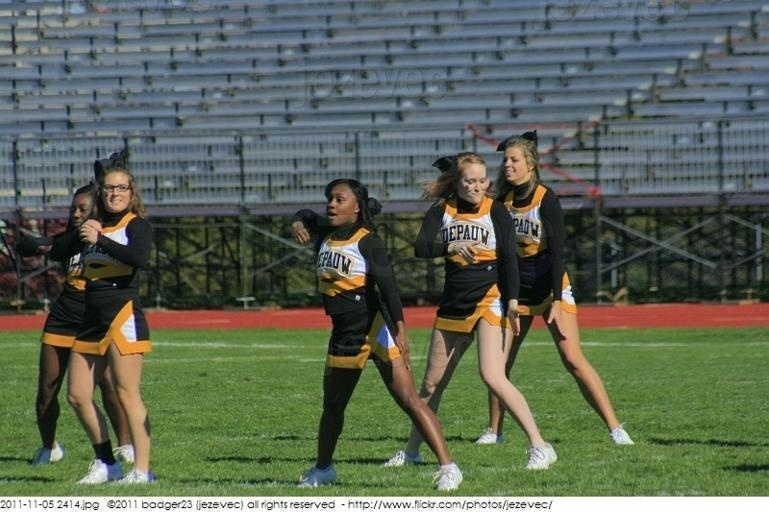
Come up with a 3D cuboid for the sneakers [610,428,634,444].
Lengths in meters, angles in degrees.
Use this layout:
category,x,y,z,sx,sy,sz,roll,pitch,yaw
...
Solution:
category,x,y,z,sx,sy,sz,roll,pitch,yaw
sneakers,5.319,4.096,31.646,0.237,0.276,0.542,24,14,-50
